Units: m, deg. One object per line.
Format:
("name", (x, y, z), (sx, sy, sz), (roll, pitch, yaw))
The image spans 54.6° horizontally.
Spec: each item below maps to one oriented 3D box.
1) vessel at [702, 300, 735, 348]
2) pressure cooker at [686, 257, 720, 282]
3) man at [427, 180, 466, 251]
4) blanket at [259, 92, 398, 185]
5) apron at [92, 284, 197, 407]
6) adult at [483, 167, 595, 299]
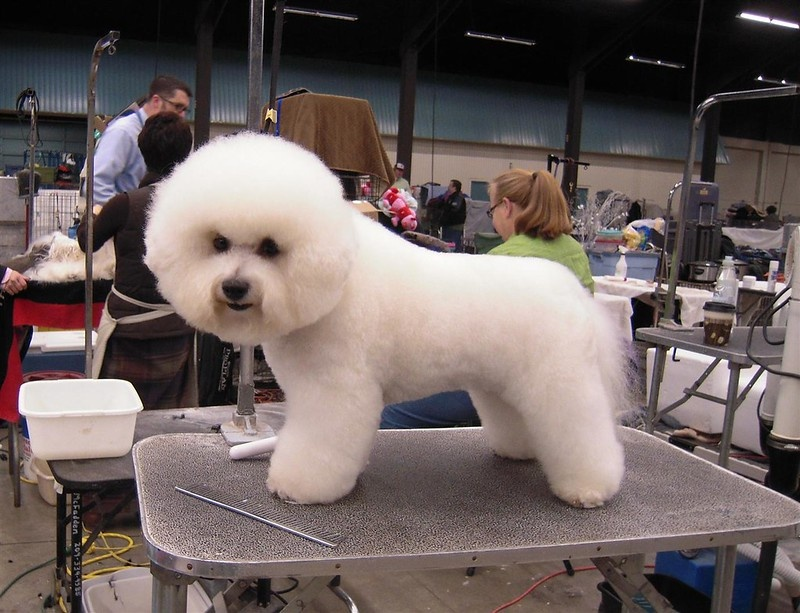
("vessel", (1.318, 0.079, 3.225), (0.163, 0.187, 0.167), (6, -6, -16))
("pressure cooker", (2.440, -0.292, 6.317), (0.243, 0.202, 0.295), (5, 6, 32))
("man", (0.682, -1.231, 11.556), (0.448, 1.229, 0.421), (7, 8, 16))
("blanket", (-0.277, -0.689, 3.494), (0.474, 0.346, 0.402), (-4, 15, -28))
("apron", (-1.035, 0.162, 3.123), (0.443, 0.618, 0.325), (0, 19, -20))
("adult", (0.585, -0.294, 3.473), (0.529, 0.623, 0.393), (4, 12, 27))
